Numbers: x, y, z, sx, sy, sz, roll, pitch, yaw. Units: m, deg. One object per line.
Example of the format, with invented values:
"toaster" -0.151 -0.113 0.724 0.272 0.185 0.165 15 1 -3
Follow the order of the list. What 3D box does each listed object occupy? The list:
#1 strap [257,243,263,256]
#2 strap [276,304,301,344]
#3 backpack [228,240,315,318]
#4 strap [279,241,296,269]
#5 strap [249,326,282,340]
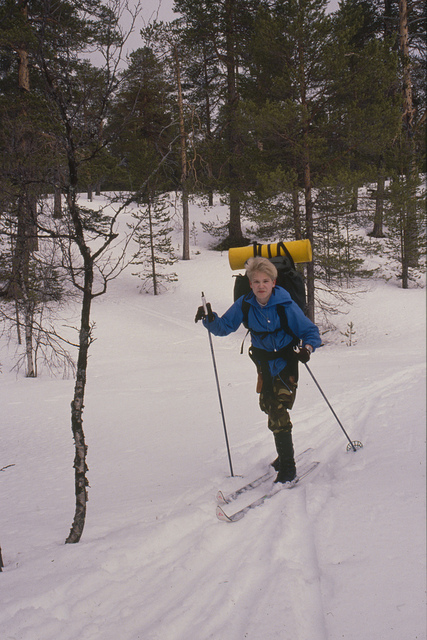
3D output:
"strap" 0.496 -0.751 6.766 0.046 0.109 0.049 -4 5 4
"strap" 0.755 0.035 6.292 0.271 0.207 0.292 -1 -28 14
"backpack" 0.631 -0.467 6.953 0.851 0.876 0.381 -7 27 2
"strap" 0.799 -0.705 6.759 0.068 0.270 0.200 -20 14 -12
"strap" 0.521 0.120 6.383 0.163 0.060 0.175 -11 -17 -2
